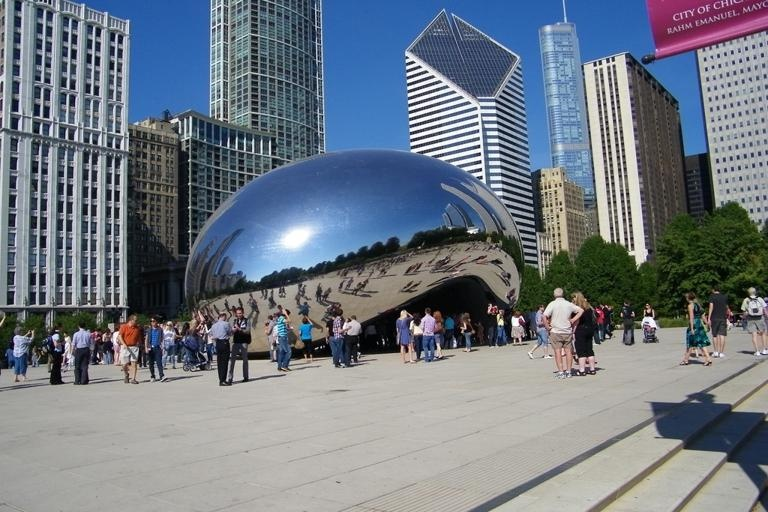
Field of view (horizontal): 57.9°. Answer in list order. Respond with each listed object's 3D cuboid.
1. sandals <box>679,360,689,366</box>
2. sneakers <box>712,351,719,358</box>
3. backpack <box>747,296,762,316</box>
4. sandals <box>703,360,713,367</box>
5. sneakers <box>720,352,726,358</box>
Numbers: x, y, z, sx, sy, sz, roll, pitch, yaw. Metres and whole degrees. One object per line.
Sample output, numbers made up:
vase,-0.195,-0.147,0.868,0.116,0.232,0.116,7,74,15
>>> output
sandals,8.041,2.879,18.569,0.345,0.129,0.121,4,-7,7
sneakers,9.319,2.825,19.637,0.119,0.143,0.348,-3,-21,23
backpack,10.422,1.451,19.634,0.512,0.523,0.292,-3,-23,33
sandals,8.373,2.813,18.055,0.108,0.121,0.317,-6,-18,20
sneakers,9.608,2.836,19.819,0.094,0.126,0.150,0,-42,29
